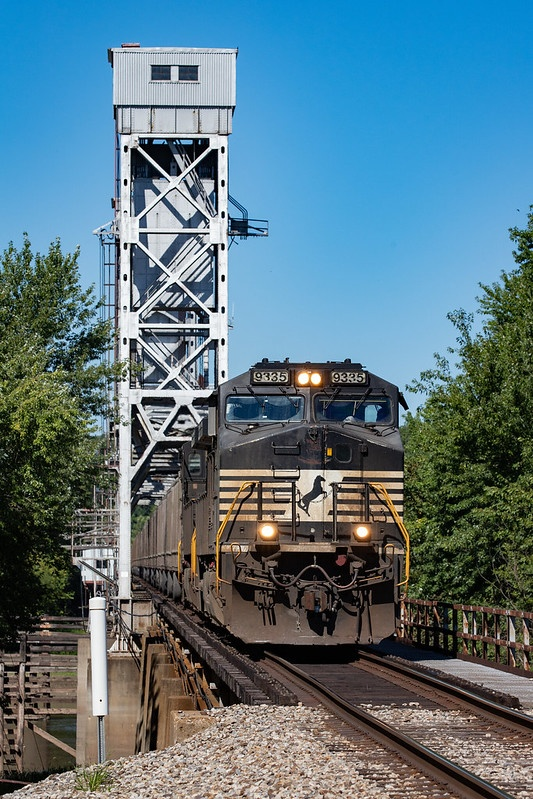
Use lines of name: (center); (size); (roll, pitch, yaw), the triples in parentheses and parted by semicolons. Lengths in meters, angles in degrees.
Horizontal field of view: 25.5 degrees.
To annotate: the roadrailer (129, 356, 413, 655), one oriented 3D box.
roadrailer: (-0.296, 1.731, 19.123); (2.708, 4.583, 7.077); (-1, -3, -25)
